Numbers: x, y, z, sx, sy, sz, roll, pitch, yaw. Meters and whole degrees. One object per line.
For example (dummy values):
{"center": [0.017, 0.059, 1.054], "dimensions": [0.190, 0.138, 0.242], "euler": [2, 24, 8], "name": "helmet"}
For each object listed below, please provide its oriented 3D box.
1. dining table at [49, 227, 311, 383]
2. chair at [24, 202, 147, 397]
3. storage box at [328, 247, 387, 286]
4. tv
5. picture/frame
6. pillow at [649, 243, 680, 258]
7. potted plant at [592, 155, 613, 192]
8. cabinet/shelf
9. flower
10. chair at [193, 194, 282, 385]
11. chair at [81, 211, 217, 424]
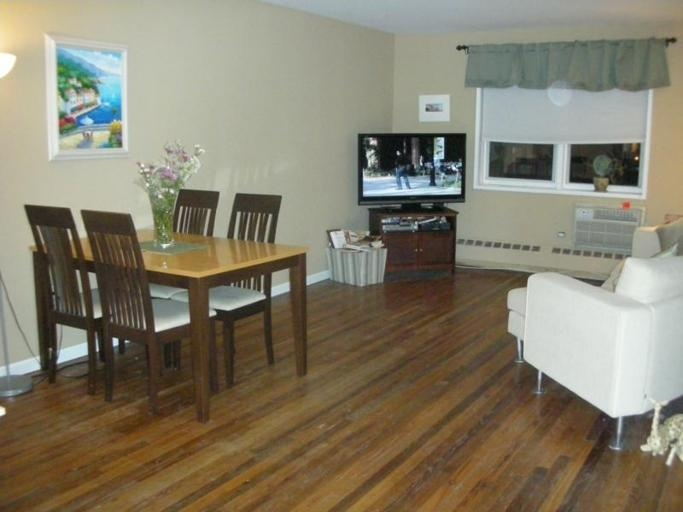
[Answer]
{"center": [-0.848, 0.068, 3.514], "dimensions": [1.634, 0.889, 0.946], "euler": [6, 9, 35], "name": "dining table"}
{"center": [-1.710, 0.257, 3.636], "dimensions": [0.551, 1.221, 0.587], "euler": [9, 13, 39], "name": "chair"}
{"center": [0.164, 0.091, 5.995], "dimensions": [0.519, 0.319, 0.437], "euler": [1, 7, 27], "name": "storage box"}
{"center": [0.803, -1.024, 6.239], "dimensions": [0.936, 0.661, 0.032], "euler": [-1, 10, -8], "name": "tv"}
{"center": [-1.885, -1.172, 3.924], "dimensions": [0.090, 0.848, 0.670], "euler": [8, 18, 36], "name": "picture/frame"}
{"center": [2.302, -0.026, 3.765], "dimensions": [0.143, 0.044, 0.124], "euler": [-26, 19, 30], "name": "pillow"}
{"center": [3.042, -0.977, 6.188], "dimensions": [0.221, 0.428, 0.148], "euler": [4, 16, 27], "name": "potted plant"}
{"center": [0.805, -0.165, 6.472], "dimensions": [1.173, 1.010, 0.707], "euler": [-2, 8, -13], "name": "cabinet/shelf"}
{"center": [-1.269, -0.355, 3.756], "dimensions": [0.473, 0.590, 0.435], "euler": [-1, 2, 0], "name": "flower"}
{"center": [-0.792, 0.230, 3.815], "dimensions": [0.597, 1.273, 0.582], "euler": [-7, 13, -37], "name": "chair"}
{"center": [-1.249, 0.330, 3.316], "dimensions": [0.568, 1.267, 0.368], "euler": [3, 15, 22], "name": "chair"}
